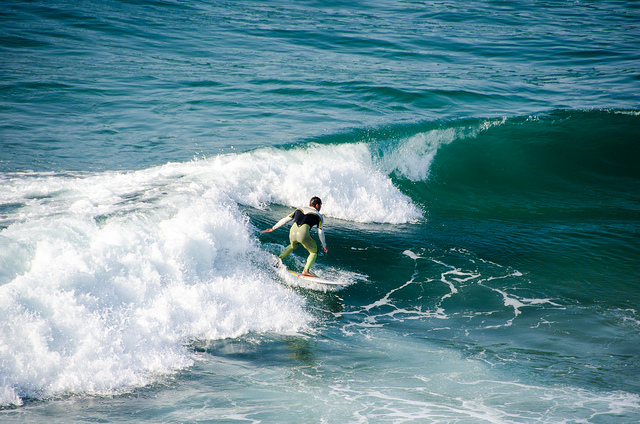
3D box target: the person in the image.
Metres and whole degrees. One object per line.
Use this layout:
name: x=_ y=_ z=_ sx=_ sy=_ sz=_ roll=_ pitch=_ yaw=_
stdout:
person: x=-0.501 y=0.760 z=24.535 sx=1.435 sy=2.476 sz=0.983 roll=14 pitch=19 yaw=23
